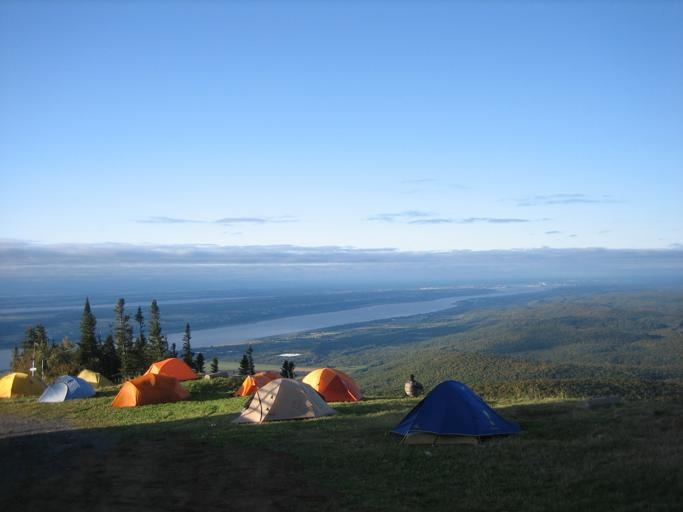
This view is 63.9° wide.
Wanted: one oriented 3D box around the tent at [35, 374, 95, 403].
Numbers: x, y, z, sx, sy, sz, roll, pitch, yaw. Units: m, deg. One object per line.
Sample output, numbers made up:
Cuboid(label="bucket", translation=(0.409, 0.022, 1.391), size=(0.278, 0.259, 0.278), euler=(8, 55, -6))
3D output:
Cuboid(label="tent", translation=(-19.346, 9.455, 38.475), size=(2.360, 0.727, 2.460), euler=(0, 2, 4))

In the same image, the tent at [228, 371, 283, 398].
Cuboid(label="tent", translation=(-6.082, 9.338, 40.335), size=(4.038, 1.162, 2.973), euler=(5, -11, -44))

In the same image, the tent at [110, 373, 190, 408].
Cuboid(label="tent", translation=(-13.015, 9.268, 37.433), size=(4.492, 1.424, 4.871), euler=(1, -5, -7))

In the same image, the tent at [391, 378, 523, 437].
Cuboid(label="tent", translation=(5.167, 7.403, 25.441), size=(3.823, 1.532, 4.216), euler=(-4, -8, 28))
